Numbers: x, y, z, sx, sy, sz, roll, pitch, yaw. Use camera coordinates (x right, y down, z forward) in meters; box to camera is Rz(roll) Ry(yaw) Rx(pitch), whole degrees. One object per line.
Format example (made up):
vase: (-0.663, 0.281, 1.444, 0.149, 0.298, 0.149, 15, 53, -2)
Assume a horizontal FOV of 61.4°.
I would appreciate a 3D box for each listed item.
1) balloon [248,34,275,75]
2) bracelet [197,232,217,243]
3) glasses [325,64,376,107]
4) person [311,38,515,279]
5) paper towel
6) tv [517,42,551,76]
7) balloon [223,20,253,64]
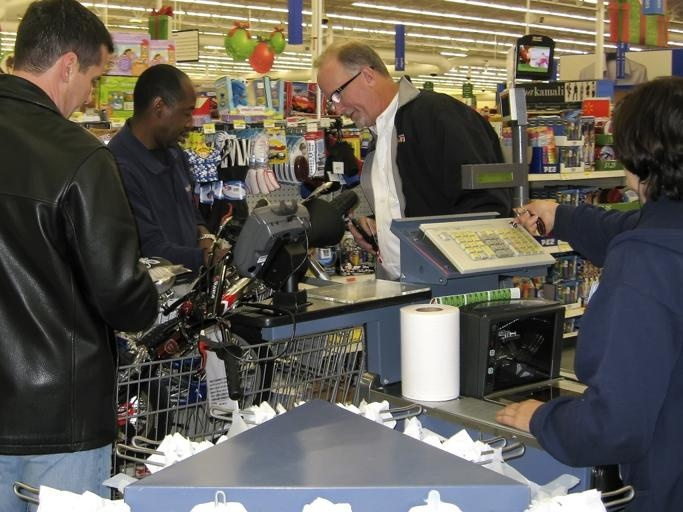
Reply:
balloon: (-1.335, -3.330, 9.566, 0.423, 0.452, 0.432, 4, 6, 29)
bracelet: (-0.812, -0.114, 3.447, 0.122, 0.057, 0.165, -5, 0, 1)
glasses: (0.049, -0.896, 3.000, 0.203, 0.061, 0.153, -45, 3, -7)
person: (0.343, -0.554, 2.918, 0.979, 1.142, 0.516, -2, 4, 18)
paper towel: (0.306, 0.332, 1.867, 0.233, 0.324, 0.226, -7, -14, 26)
tv: (1.770, -1.849, 5.332, 0.336, 0.257, 0.171, 1, 13, -3)
balloon: (-1.617, -3.472, 9.161, 0.437, 0.638, 0.587, -3, 4, -7)
